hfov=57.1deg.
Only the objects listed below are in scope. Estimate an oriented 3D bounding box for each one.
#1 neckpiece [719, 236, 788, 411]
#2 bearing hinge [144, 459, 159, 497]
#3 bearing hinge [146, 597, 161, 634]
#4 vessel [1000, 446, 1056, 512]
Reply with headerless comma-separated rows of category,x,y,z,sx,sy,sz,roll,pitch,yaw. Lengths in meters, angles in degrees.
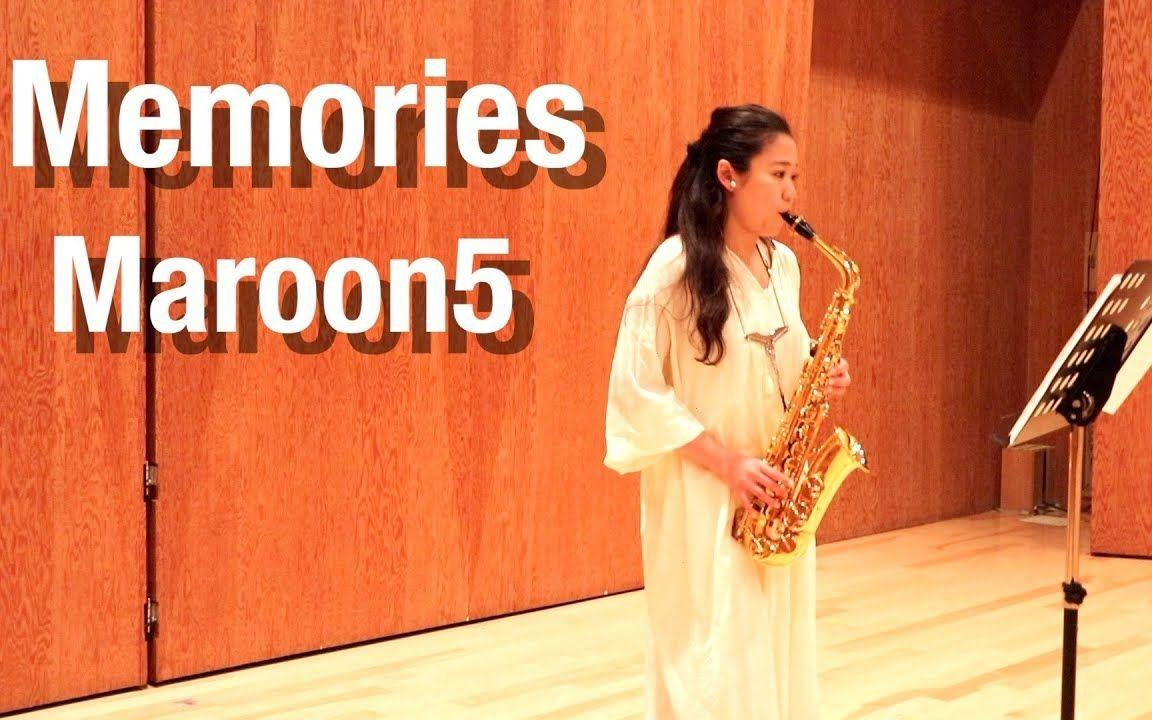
neckpiece,0.565,-0.102,3.341,0.138,0.484,0.026,-10,-6,-26
bearing hinge,-1.767,0.503,4.413,0.058,0.151,0.051,-2,-14,-23
bearing hinge,-1.773,1.084,4.440,0.055,0.150,0.063,-2,-14,-23
vessel,3.327,0.860,7.730,0.462,0.470,0.273,1,-1,22
